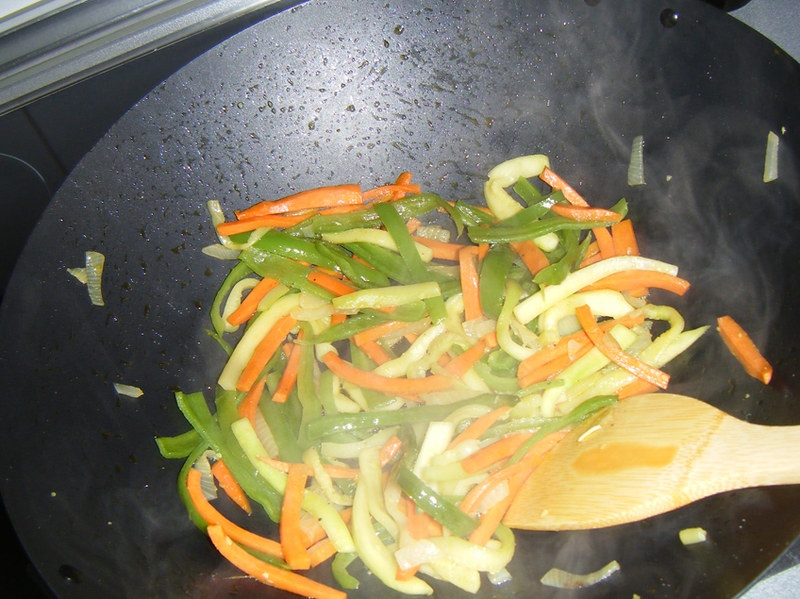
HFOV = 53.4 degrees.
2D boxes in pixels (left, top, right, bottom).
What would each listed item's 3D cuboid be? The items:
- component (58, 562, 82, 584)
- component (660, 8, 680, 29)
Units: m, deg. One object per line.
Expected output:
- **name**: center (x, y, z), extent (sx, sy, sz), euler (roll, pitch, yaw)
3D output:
- **component**: center (-1.322, 1.104, 3.208), extent (0.023, 0.093, 0.063), euler (-55, 38, 0)
- **component**: center (1.163, -1.213, 3.437), extent (0.077, 0.023, 0.074), euler (34, 85, 8)
